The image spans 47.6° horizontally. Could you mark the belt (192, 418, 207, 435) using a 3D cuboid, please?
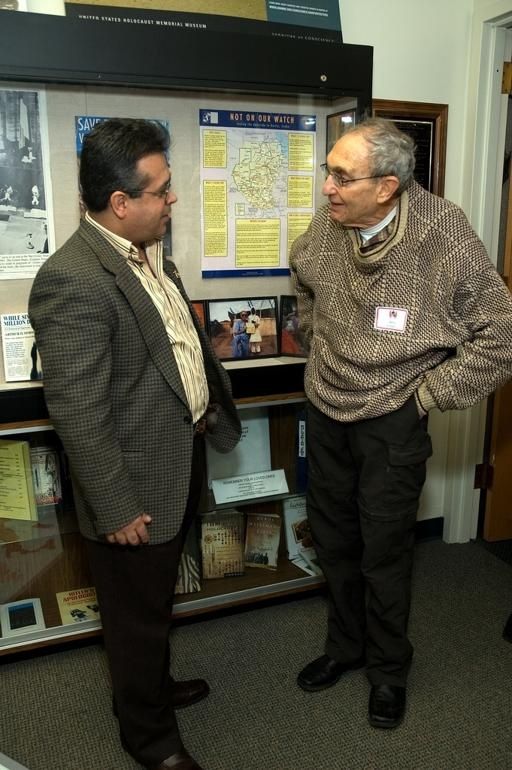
[{"bbox_3d":[-0.138,0.107,1.465,0.030,0.035,0.038,-6,18,11],"label":"belt"}]

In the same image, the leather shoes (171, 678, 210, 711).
[{"bbox_3d":[-0.200,0.923,1.739,0.126,0.079,0.048,-14,28,-27],"label":"leather shoes"}]

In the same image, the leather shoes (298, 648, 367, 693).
[{"bbox_3d":[0.243,0.885,1.864,0.224,0.086,0.081,-5,19,-33],"label":"leather shoes"}]

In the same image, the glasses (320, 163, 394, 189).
[{"bbox_3d":[0.256,-0.512,1.421,0.091,0.026,0.088,-7,37,-7],"label":"glasses"}]

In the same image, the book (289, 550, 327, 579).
[{"bbox_3d":[0.197,0.685,2.212,0.082,0.022,0.081,-15,46,-28],"label":"book"}]
